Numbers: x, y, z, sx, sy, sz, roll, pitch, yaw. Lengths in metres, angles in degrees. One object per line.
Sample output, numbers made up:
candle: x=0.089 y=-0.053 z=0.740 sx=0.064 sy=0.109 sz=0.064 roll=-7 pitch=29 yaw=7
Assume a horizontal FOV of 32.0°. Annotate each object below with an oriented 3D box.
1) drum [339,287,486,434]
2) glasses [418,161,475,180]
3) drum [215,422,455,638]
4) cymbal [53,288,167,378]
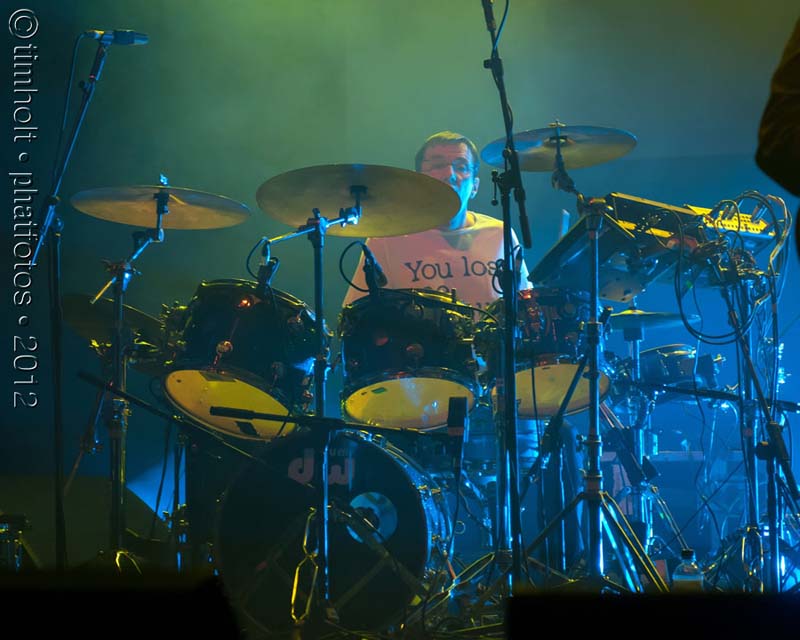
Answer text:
drum: x=0.089 y=0.206 z=6.869 sx=0.783 sy=0.475 sz=0.742 roll=3 pitch=-32 yaw=2
glasses: x=0.267 y=-0.835 z=7.779 sx=0.211 sy=0.069 sz=0.218 roll=4 pitch=-15 yaw=10
drum: x=-0.303 y=1.024 z=6.643 sx=1.227 sy=1.012 sz=0.653 roll=-1 pitch=0 yaw=16
cymbal: x=-1.428 y=0.071 z=7.198 sx=0.682 sy=0.393 sz=0.468 roll=1 pitch=-4 yaw=11
